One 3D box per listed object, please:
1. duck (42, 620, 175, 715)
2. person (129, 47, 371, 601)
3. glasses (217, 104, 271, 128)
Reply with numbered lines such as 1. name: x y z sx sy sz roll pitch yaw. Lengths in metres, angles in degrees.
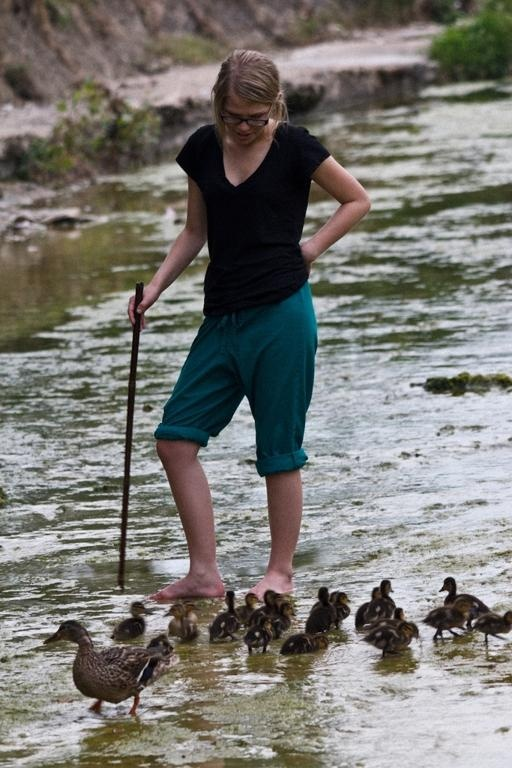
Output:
1. duck: -0.476 0.935 4.432 0.473 0.281 0.224 0 -3 -32
2. person: -0.017 -0.225 5.485 0.982 2.205 0.467 -4 14 6
3. glasses: -0.043 -1.016 5.124 0.180 0.080 0.078 -5 13 -3
